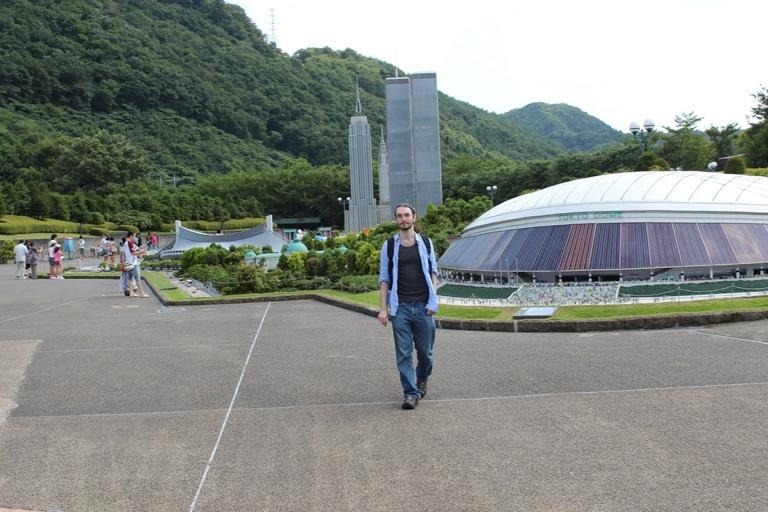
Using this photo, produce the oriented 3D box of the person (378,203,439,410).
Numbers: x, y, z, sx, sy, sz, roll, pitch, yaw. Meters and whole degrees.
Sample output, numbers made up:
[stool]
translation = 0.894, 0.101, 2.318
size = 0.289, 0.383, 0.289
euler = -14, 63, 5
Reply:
[person]
translation = 0.314, 0.565, 7.368
size = 0.742, 2.554, 0.877
euler = -1, 3, 6
